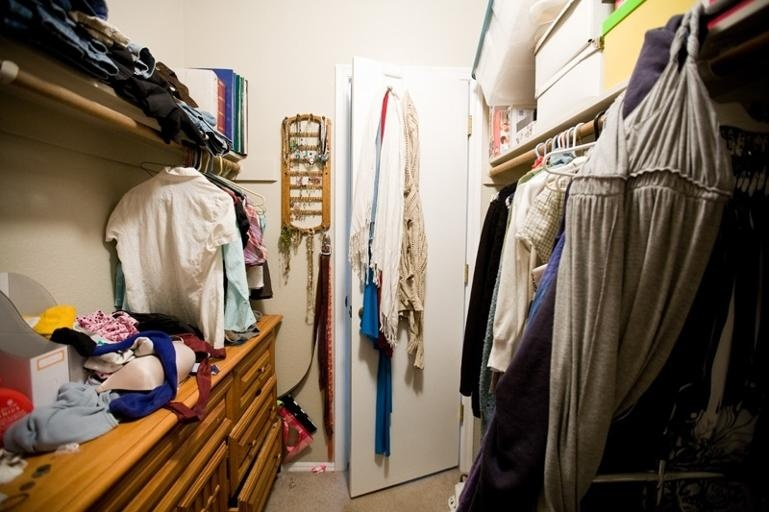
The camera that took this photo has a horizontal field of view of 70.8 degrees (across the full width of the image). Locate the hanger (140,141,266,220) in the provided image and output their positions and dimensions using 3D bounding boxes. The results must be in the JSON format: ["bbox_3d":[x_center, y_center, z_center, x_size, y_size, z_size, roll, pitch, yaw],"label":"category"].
[{"bbox_3d":[-0.857,-0.385,2.714,0.203,0.254,0.687,-14,-7,21],"label":"hanger"}]

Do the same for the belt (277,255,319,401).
[{"bbox_3d":[-0.467,0.396,2.966,0.282,0.778,0.093,-4,5,-11],"label":"belt"}]

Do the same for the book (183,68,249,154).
[{"bbox_3d":[-0.801,-0.738,2.852,0.362,0.545,0.375,4,10,8],"label":"book"}]
